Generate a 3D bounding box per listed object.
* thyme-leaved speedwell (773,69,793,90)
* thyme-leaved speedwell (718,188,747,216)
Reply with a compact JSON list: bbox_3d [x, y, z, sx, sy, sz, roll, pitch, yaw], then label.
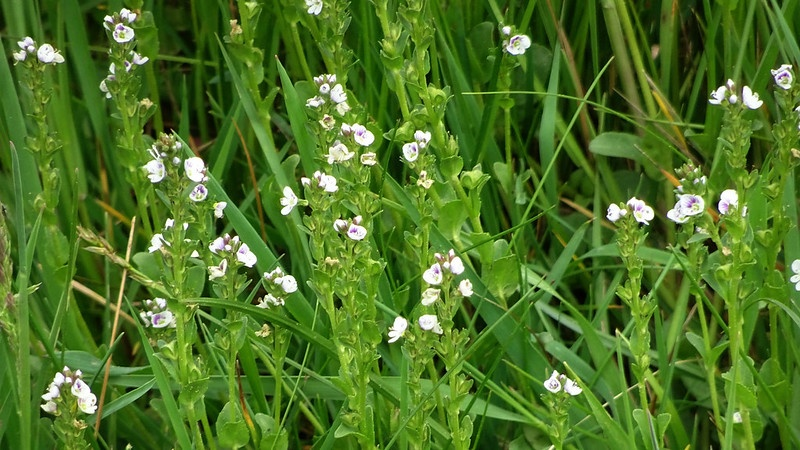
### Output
[{"bbox_3d":[1.049,-0.410,2.415,0.053,0.062,0.094,-1,21,24],"label":"thyme-leaved speedwell"},{"bbox_3d":[0.887,-0.052,2.367,0.062,0.077,0.020,5,-10,22],"label":"thyme-leaved speedwell"}]
